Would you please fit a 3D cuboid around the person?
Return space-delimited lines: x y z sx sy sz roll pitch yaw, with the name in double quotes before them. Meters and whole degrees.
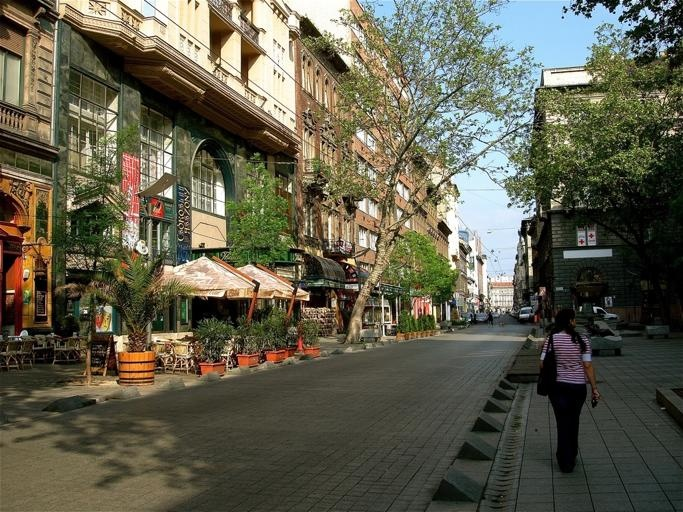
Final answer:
"person" 3.104 1.763 8.676 0.727 2.132 0.535 1 -8 -18

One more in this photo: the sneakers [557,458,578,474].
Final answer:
"sneakers" 2.960 2.717 8.311 0.166 0.137 0.183 0 -16 2
